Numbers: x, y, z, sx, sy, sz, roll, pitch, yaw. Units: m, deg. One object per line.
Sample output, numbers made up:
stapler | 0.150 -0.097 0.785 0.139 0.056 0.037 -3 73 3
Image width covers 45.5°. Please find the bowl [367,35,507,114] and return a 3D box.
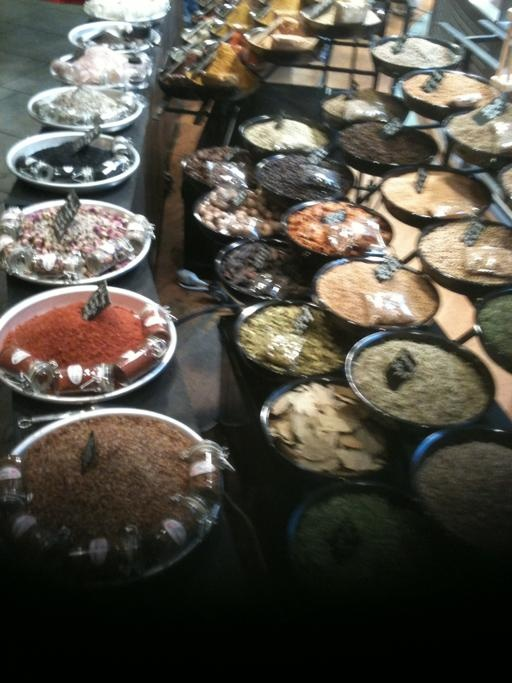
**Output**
bowl | 0.643 -1.011 2.446 0.469 0.121 0.466 9 50 -11
